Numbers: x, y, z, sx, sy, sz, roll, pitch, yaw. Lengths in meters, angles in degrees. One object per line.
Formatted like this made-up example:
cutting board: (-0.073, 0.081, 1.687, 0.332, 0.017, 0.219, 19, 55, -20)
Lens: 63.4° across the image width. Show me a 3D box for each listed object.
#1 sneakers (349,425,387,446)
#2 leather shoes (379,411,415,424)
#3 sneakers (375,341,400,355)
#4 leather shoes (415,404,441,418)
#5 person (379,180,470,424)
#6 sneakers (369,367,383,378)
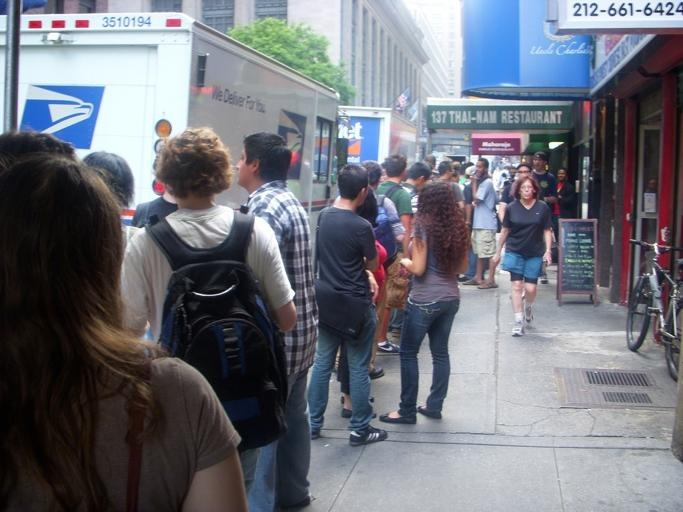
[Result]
sneakers: (0.231, 1.572, 4.858, 0.337, 0.153, 0.138, -5, 4, -26)
leather shoes: (0.538, 1.534, 5.240, 0.294, 0.119, 0.129, 6, -2, 12)
sneakers: (0.688, 1.257, 7.576, 0.430, 0.182, 0.169, 4, 3, -7)
leather shoes: (0.839, 1.489, 5.367, 0.088, 0.101, 0.253, 3, 7, -38)
person: (0.824, 0.436, 5.201, 0.749, 2.244, 0.497, -1, 7, 12)
sneakers: (0.428, 1.377, 6.498, 0.074, 0.090, 0.212, 6, 11, 38)
